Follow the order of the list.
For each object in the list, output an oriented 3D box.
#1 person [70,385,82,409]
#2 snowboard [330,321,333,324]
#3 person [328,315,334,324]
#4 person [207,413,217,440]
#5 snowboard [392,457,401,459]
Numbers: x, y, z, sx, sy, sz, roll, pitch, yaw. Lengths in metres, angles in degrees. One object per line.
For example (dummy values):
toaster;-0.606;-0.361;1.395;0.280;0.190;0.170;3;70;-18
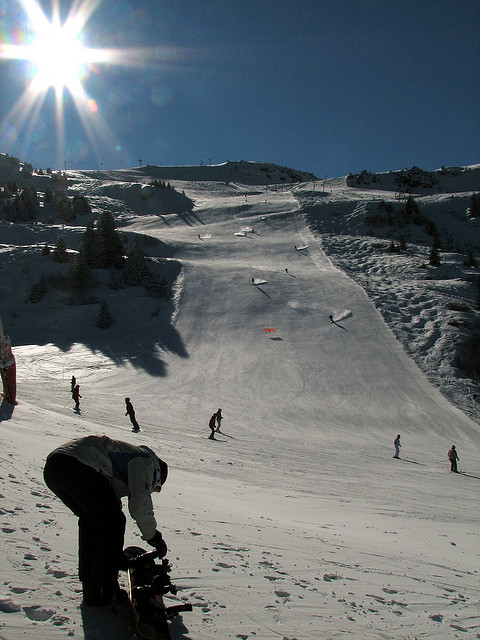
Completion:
person;-5.492;2.563;21.144;0.316;0.799;0.943;7;-9;-13
snowboard;5.181;0.123;35.474;0.144;0.056;0.140;-28;44;-17
person;5.212;-0.064;35.933;0.316;0.642;1.083;4;-9;7
person;-0.842;3.377;20.137;0.307;0.821;1.091;5;-9;-2
snowboard;4.905;4.301;19.649;0.226;0.036;0.136;7;-9;-20
